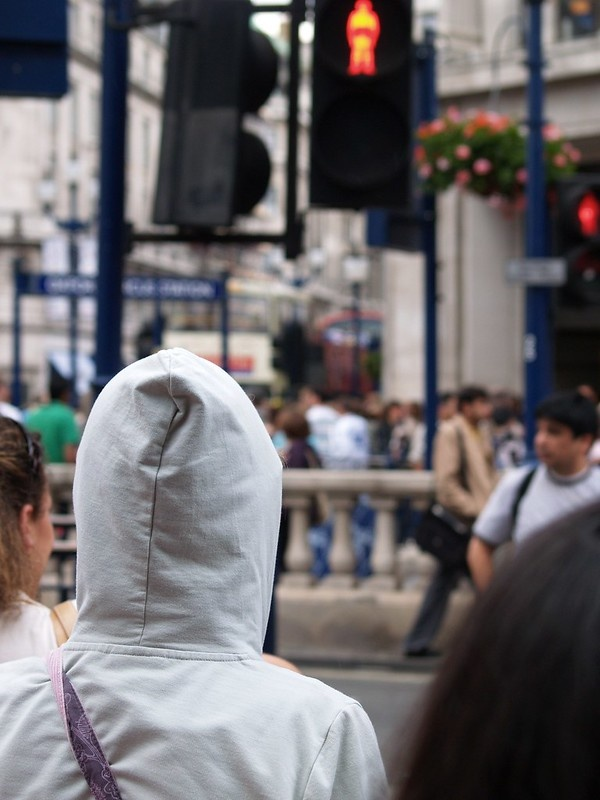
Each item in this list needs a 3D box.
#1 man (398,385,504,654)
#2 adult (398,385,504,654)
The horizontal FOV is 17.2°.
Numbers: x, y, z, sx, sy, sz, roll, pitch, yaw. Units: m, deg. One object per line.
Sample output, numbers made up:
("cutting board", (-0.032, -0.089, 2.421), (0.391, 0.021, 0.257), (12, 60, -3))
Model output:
("man", (0.478, 0.315, 6.202), (0.353, 1.049, 0.362), (4, 44, 6))
("adult", (0.538, 0.411, 6.770), (0.286, 0.929, 0.287), (8, 11, 26))
